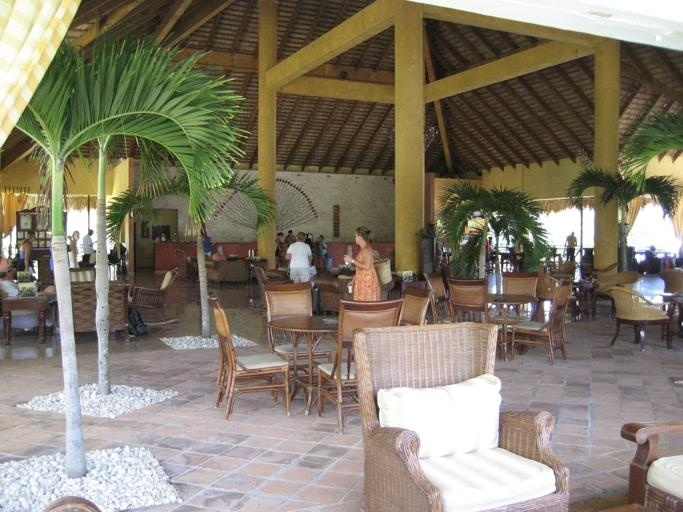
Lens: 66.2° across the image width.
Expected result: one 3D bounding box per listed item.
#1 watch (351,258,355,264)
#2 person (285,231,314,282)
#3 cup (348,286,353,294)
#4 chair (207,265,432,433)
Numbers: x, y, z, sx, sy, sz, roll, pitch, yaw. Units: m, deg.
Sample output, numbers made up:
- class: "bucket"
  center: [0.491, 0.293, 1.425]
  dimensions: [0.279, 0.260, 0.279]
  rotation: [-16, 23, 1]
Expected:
- class: "watch"
  center: [0.160, 0.057, 6.790]
  dimensions: [0.029, 0.043, 0.043]
  rotation: [6, -13, -5]
- class: "person"
  center: [-0.732, 0.118, 9.425]
  dimensions: [0.418, 1.231, 0.362]
  rotation: [1, 31, -3]
- class: "cup"
  center: [0.119, 0.410, 6.442]
  dimensions: [0.090, 0.097, 0.089]
  rotation: [-1, 4, 0]
- class: "chair"
  center: [-0.214, 0.749, 4.833]
  dimensions: [1.459, 0.780, 1.431]
  rotation: [0, -1, 13]
